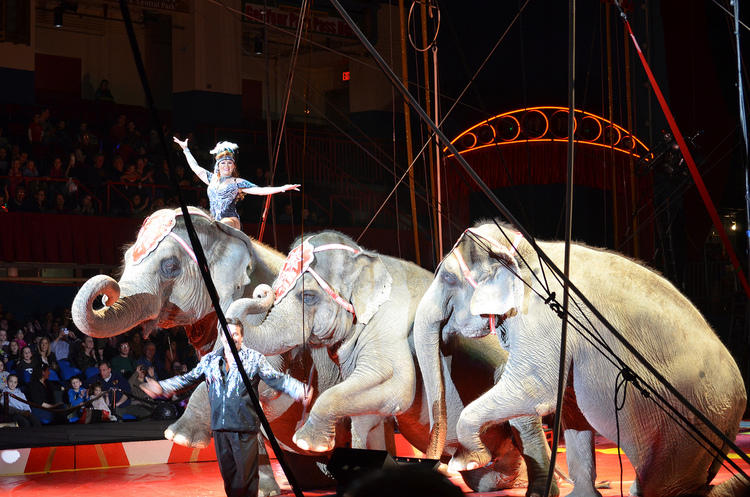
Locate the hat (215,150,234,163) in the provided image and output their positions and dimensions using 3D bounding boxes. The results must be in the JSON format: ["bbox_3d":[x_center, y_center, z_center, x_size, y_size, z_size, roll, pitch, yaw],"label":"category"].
[{"bbox_3d":[-1.508,-0.930,10.287,0.198,0.114,0.096,0,7,-16],"label":"hat"}]

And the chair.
[{"bbox_3d":[-3.691,1.779,12.591,0.939,0.832,0.675,-29,-26,37],"label":"chair"}]

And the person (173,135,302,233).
[{"bbox_3d":[-1.526,-0.671,10.575,1.559,1.315,0.901,2,2,8],"label":"person"}]

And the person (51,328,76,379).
[{"bbox_3d":[-4.175,1.484,13.655,0.282,0.786,0.217,-6,11,-15],"label":"person"}]
